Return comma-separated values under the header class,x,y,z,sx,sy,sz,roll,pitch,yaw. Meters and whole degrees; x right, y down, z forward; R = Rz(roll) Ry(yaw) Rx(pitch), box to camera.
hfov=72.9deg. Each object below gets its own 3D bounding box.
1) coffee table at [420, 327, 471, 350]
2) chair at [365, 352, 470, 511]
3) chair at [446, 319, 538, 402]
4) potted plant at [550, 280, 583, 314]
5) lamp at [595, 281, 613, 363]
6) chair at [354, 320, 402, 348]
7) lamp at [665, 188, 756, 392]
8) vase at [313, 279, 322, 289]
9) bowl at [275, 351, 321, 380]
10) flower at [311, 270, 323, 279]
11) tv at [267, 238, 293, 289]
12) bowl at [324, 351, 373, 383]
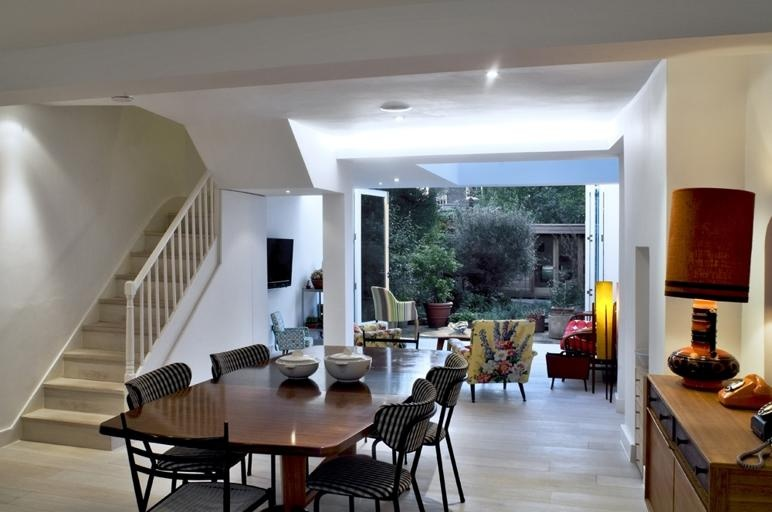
class,x,y,z,sx,sy,sz,roll,pitch,yaw
coffee table,0.999,1.411,8.917,0.543,0.184,0.787,-1,0,9
chair,0.557,1.428,4.817,1.004,1.570,1.080,0,-4,18
chair,1.455,1.231,7.233,1.303,1.324,1.064,0,1,0
potted plant,4.414,0.960,12.894,0.797,1.136,0.974,0,0,22
lamp,2.994,0.914,7.209,0.237,1.119,0.165,1,6,22
chair,-0.169,1.160,7.670,0.385,0.360,0.391,-1,3,-16
lamp,2.060,0.233,3.401,0.491,1.347,0.391,0,6,18
vase,-1.396,0.555,10.657,0.135,0.200,0.239,-3,6,-17
bowl,-0.700,0.869,4.202,0.251,0.148,0.270,-2,-1,0
flower,-1.427,0.368,10.840,0.219,0.114,0.216,0,6,-3
tv,-1.942,0.127,9.473,0.126,0.688,0.962,2,1,20
bowl,-0.291,0.854,4.104,0.260,0.174,0.290,-3,-3,22
